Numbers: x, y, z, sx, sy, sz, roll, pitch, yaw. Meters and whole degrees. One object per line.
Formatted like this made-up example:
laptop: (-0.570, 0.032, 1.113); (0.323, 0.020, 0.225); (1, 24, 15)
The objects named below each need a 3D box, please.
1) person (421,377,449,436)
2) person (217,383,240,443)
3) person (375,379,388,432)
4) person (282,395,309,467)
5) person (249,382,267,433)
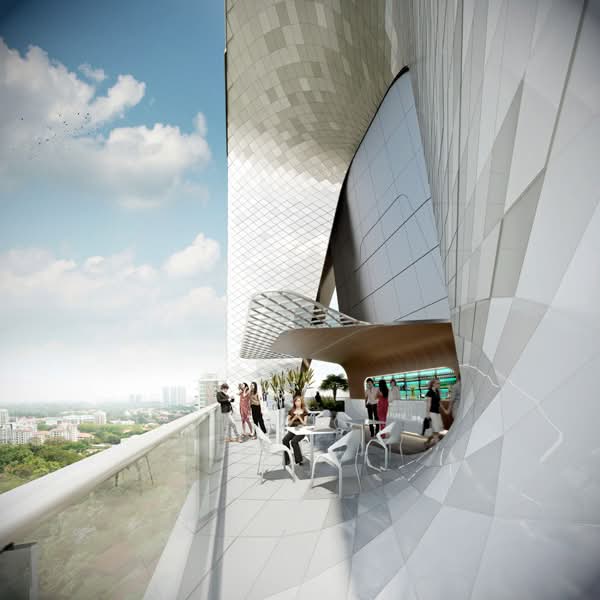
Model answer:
person: (3.426, 2.800, 9.393); (0.496, 1.520, 1.631); (-5, -11, 18)
person: (-2.425, 3.757, 12.221); (0.732, 1.942, 3.464); (-1, -12, -10)
person: (2.810, 3.579, 12.287); (0.412, 1.734, 2.602); (-4, -11, 11)
person: (-0.111, 2.873, 7.999); (0.552, 1.501, 1.273); (-2, -10, -2)
person: (-1.407, 3.380, 11.662); (0.443, 1.504, 1.226); (-1, -10, -9)
